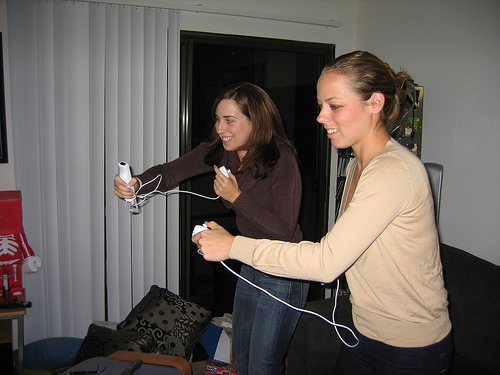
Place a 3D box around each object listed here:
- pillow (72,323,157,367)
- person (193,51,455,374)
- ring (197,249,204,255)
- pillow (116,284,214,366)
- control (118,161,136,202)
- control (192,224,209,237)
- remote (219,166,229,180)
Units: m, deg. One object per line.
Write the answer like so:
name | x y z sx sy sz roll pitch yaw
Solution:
pillow | -0.844 0.955 2.348 0.317 0.103 0.295 2 33 1
person | 0.426 -0.071 2.153 1.096 2.083 0.960 -1 10 2
ring | -0.181 0.232 1.380 0.006 0.019 0.016 -13 -15 -4
pillow | -0.582 0.908 2.620 0.505 0.169 0.561 26 34 -1
control | -0.660 -0.032 2.040 0.083 0.221 0.183 -1 9 -18
control | -0.206 0.177 1.560 0.049 0.016 0.047 -10 45 18
remote | -0.123 -0.069 1.825 0.018 0.052 0.052 -20 48 -21
